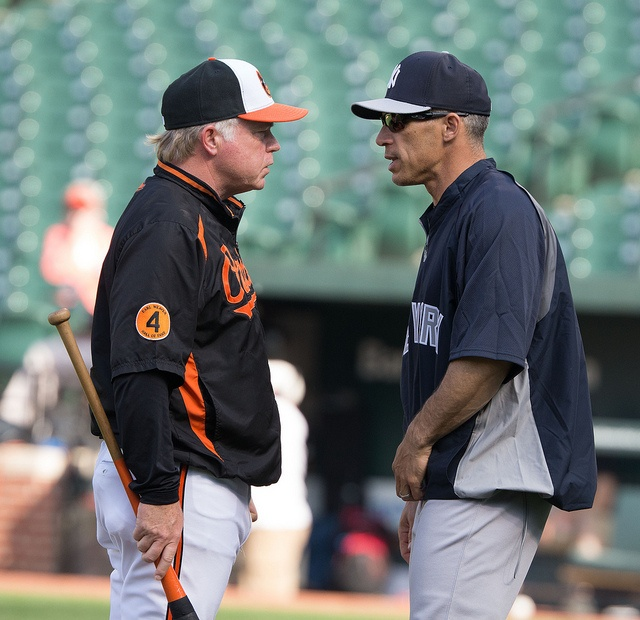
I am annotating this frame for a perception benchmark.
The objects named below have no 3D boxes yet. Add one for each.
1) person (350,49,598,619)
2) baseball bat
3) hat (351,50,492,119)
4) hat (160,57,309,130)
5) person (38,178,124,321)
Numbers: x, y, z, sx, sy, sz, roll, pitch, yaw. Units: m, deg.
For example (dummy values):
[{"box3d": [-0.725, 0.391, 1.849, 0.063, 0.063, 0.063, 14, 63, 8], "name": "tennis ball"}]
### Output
[{"box3d": [0.717, 0.113, 7.240, 0.884, 2.284, 1.009, -4, 20, 2], "name": "person"}, {"box3d": [-0.920, 0.772, 7.729, 0.192, 1.713, 0.199, -20, 2, 23], "name": "baseball bat"}, {"box3d": [0.447, -0.999, 7.442, 0.667, 0.316, 0.416, 0, 2, -20], "name": "hat"}, {"box3d": [-0.374, -0.982, 7.424, 0.687, 0.310, 0.426, -2, 6, 5], "name": "hat"}, {"box3d": [-1.688, -0.469, 11.629, 0.675, 1.128, 0.361, 3, 1, 12], "name": "person"}]
